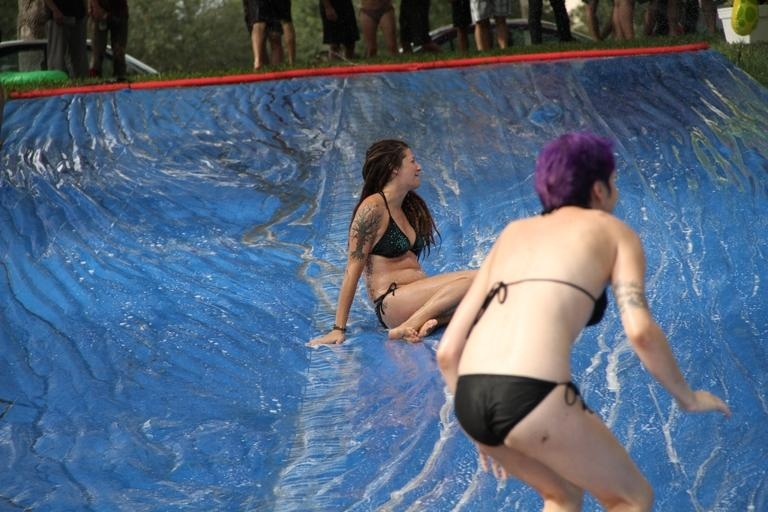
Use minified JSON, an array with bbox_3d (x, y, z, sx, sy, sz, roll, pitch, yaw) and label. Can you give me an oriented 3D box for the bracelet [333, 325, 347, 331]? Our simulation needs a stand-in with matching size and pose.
[{"bbox_3d":[-0.380,0.600,6.954,0.106,0.065,0.094,-1,7,3],"label":"bracelet"}]
